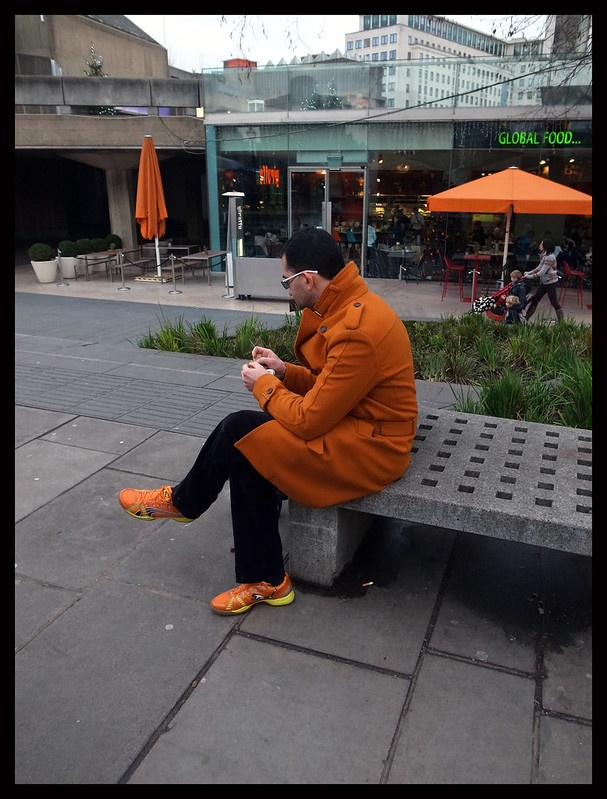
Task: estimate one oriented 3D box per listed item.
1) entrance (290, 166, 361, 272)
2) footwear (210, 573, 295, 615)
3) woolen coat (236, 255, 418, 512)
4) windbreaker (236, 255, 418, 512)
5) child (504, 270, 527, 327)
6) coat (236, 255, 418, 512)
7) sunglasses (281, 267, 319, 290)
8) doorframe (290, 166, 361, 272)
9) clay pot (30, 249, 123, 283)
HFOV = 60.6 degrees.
[{"bbox_3d":[0.737,-5.648,16.289,2.610,3.529,0.344,1,-7,-1],"label":"entrance"},{"bbox_3d":[-0.247,0.965,2.641,0.440,0.211,0.160,-1,13,-11],"label":"footwear"},{"bbox_3d":[0.080,-0.217,2.842,1.029,1.417,1.034,0,16,11],"label":"woolen coat"},{"bbox_3d":[0.081,-0.211,2.845,1.029,1.417,1.034,0,16,11],"label":"windbreaker"},{"bbox_3d":[3.881,-1.887,9.466,0.375,0.916,0.871,6,15,22],"label":"child"},{"bbox_3d":[0.203,-0.186,2.827,1.029,1.417,1.034,0,16,11],"label":"coat"},{"bbox_3d":[-0.027,-0.581,2.427,0.101,0.032,0.100,-17,-10,-8],"label":"sunglasses"},{"bbox_3d":[0.756,-5.619,16.267,2.687,3.626,0.360,0,-10,1],"label":"doorframe"},{"bbox_3d":[-7.127,-4.132,16.191,2.308,0.890,2.263,1,14,0],"label":"clay pot"}]
